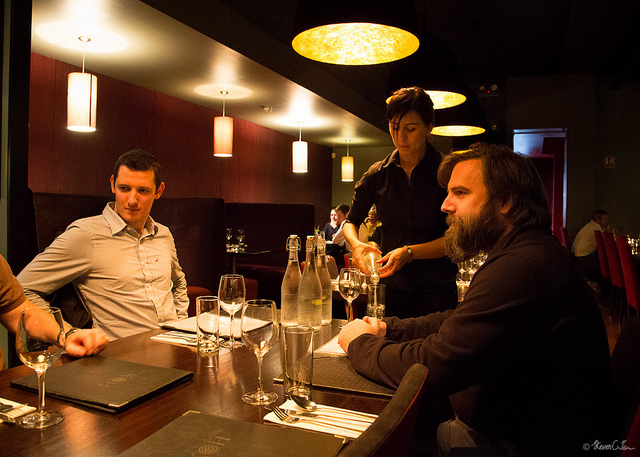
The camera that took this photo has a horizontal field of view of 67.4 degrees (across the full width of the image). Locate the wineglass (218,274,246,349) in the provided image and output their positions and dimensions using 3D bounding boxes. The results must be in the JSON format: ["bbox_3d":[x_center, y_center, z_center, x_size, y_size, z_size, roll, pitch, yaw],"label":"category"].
[{"bbox_3d":[-0.381,0.341,2.066,0.108,0.303,0.207,-1,14,-9],"label":"wineglass"}]

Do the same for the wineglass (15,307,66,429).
[{"bbox_3d":[-0.935,0.435,1.606,0.153,0.284,0.399,-6,15,-29],"label":"wineglass"}]

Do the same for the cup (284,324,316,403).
[{"bbox_3d":[-0.074,0.459,1.605,0.093,0.244,0.098,1,14,0],"label":"cup"}]

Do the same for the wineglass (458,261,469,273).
[{"bbox_3d":[0.824,0.222,2.757,0.045,0.062,0.056,5,14,15],"label":"wineglass"}]

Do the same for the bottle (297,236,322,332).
[{"bbox_3d":[-0.048,0.258,2.134,0.104,0.437,0.123,8,15,26],"label":"bottle"}]

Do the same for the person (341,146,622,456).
[{"bbox_3d":[0.722,0.321,2.560,1.225,1.870,1.101,1,-6,23],"label":"person"}]

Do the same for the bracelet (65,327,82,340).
[{"bbox_3d":[-0.964,0.411,1.870,0.052,0.015,0.052,-45,14,-12],"label":"bracelet"}]

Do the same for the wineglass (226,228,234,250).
[{"bbox_3d":[-1.276,0.108,6.814,0.084,0.222,0.357,-1,13,-8],"label":"wineglass"}]

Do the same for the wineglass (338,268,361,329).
[{"bbox_3d":[0.137,0.332,2.262,0.105,0.274,0.290,2,13,3],"label":"wineglass"}]
